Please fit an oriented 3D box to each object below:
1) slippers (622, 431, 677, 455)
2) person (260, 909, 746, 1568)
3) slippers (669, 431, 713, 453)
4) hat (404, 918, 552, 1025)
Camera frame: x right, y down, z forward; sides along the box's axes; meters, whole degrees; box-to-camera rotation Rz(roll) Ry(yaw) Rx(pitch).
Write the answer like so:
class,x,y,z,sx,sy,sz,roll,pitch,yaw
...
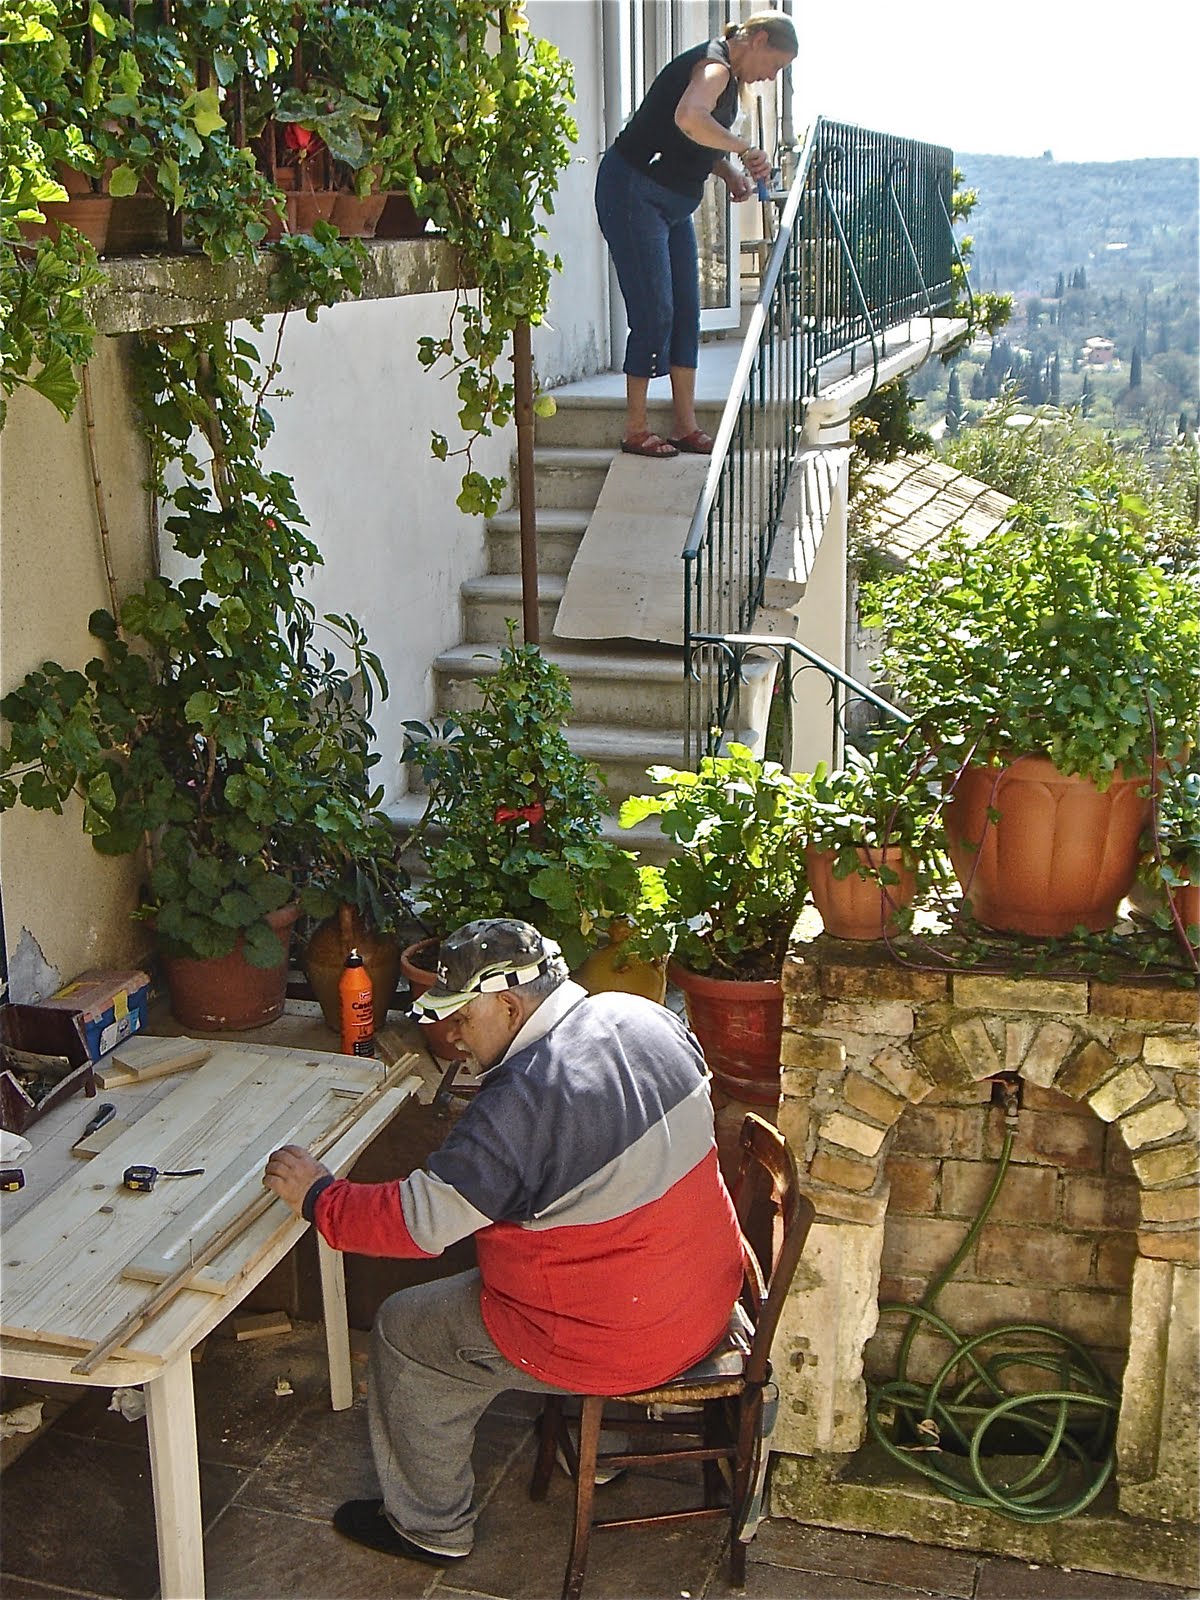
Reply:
class,x,y,z,sx,sy,sz,roll,pitch,yaw
slippers,0.194,-1.462,5.840,0.191,0.074,0.098,1,23,3
person,-0.030,0.644,2.950,0.972,1.363,0.940,9,15,31
slippers,0.368,-1.467,5.873,0.174,0.075,0.063,1,40,4
hat,-0.205,0.269,2.389,0.215,0.109,0.145,-14,12,1
